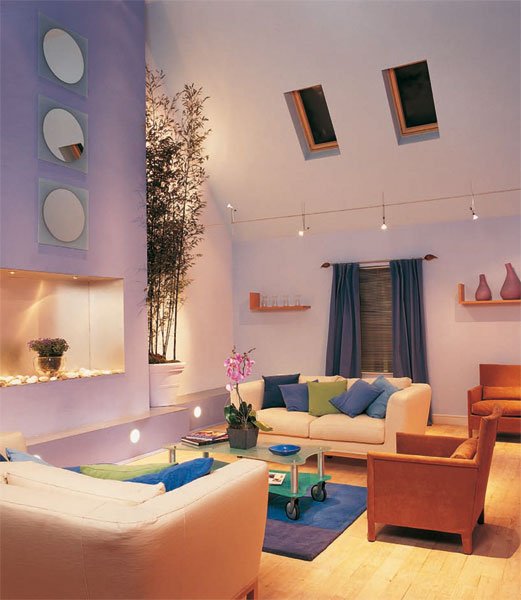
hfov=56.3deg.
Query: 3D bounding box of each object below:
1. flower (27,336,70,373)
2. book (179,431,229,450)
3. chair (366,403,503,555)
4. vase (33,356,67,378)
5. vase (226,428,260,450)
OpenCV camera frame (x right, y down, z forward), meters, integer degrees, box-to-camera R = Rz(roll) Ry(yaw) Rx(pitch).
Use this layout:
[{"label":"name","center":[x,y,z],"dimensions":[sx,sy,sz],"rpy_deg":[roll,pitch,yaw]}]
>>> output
[{"label":"flower","center":[-1.979,0.535,4.539],"dimensions":[0.352,0.346,0.353],"rpy_deg":[-5,-9,5]},{"label":"book","center":[-0.425,1.107,3.896],"dimensions":[0.191,0.044,0.201],"rpy_deg":[1,1,37]},{"label":"chair","center":[1.009,1.035,3.193],"dimensions":[0.960,0.973,0.716],"rpy_deg":[-1,-7,21]},{"label":"vase","center":[-1.909,0.608,4.386],"dimensions":[0.209,0.148,0.155],"rpy_deg":[0,1,-17]},{"label":"vase","center":[-0.140,1.053,3.748],"dimensions":[0.192,0.134,0.164],"rpy_deg":[-7,-10,36]}]
